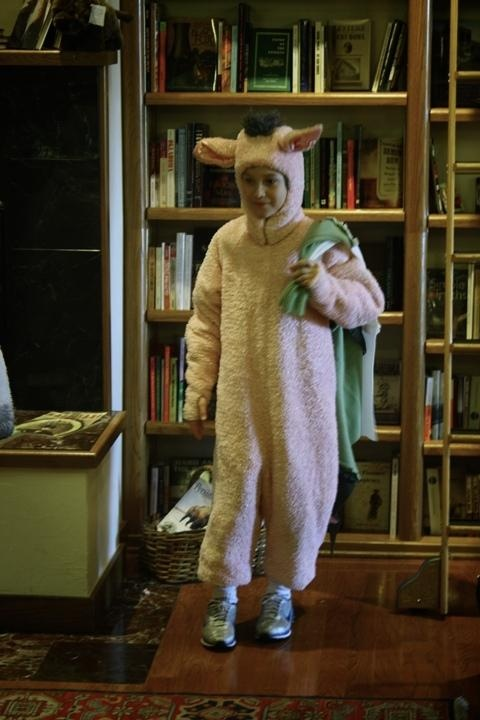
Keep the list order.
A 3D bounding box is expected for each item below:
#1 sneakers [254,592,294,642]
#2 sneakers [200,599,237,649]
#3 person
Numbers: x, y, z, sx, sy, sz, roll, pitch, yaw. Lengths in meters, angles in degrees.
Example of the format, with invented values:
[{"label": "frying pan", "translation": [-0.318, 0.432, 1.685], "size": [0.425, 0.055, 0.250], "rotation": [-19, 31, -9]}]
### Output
[{"label": "sneakers", "translation": [0.082, 0.687, 1.758], "size": [0.060, 0.060, 0.154], "rotation": [0, 4, 9]}, {"label": "sneakers", "translation": [-0.057, 0.697, 1.724], "size": [0.057, 0.051, 0.143], "rotation": [1, 4, 0]}, {"label": "person", "translation": [0.102, 0.088, 1.681], "size": [0.532, 1.122, 0.351], "rotation": [-2, 1, 12]}]
